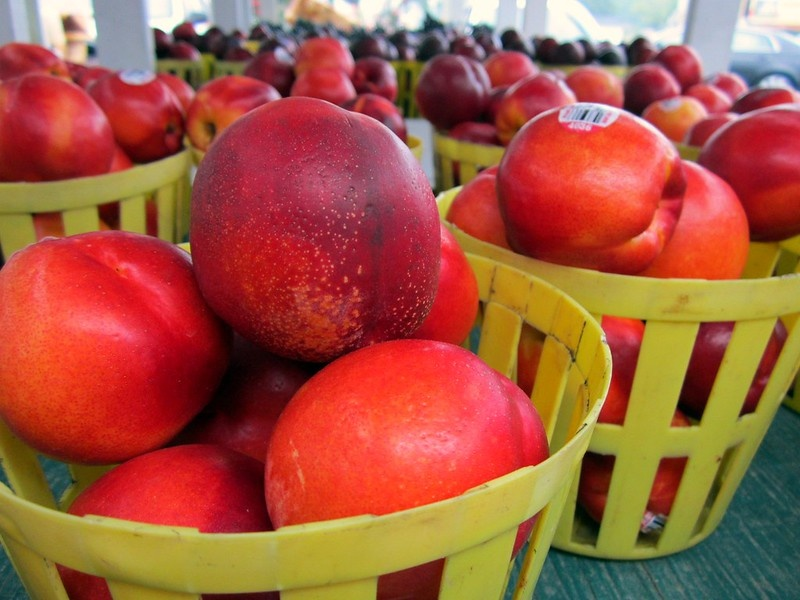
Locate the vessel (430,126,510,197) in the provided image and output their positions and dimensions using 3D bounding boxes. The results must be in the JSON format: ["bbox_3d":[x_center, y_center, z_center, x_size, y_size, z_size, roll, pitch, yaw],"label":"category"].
[{"bbox_3d":[0.188,-0.413,2.051,0.174,0.178,0.218,14,25,22],"label":"vessel"}]

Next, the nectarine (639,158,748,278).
[{"bbox_3d":[0.519,-0.130,1.353,0.175,0.195,0.218,2,65,1],"label":"nectarine"}]
